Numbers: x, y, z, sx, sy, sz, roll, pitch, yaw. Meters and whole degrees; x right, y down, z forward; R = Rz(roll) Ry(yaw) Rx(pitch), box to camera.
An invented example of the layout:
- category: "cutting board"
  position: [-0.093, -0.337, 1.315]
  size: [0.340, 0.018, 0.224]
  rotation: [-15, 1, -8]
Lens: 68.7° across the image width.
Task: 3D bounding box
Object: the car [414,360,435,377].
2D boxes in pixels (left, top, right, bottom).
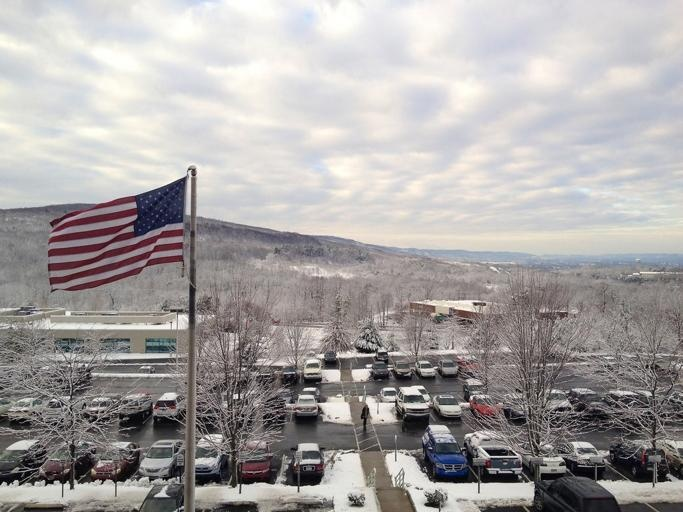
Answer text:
- category: "car"
  position: [7.113, 9.624, 42.249]
  size: [1.542, 1.235, 1.596]
  rotation: [-1, -6, 0]

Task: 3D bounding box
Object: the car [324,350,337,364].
- category: "car"
  position: [-1.138, 9.790, 47.825]
  size: [1.309, 1.212, 2.084]
  rotation: [-1, -6, -3]

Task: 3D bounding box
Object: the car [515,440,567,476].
- category: "car"
  position: [10.809, 10.263, 26.343]
  size: [1.491, 0.949, 3.140]
  rotation: [-3, 7, 13]

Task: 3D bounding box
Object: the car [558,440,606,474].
- category: "car"
  position: [12.377, 10.448, 25.817]
  size: [1.268, 0.788, 2.727]
  rotation: [-1, 0, 1]

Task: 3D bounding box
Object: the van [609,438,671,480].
- category: "van"
  position: [15.411, 10.548, 26.034]
  size: [1.461, 1.222, 2.780]
  rotation: [1, 2, -2]

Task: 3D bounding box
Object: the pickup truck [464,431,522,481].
- category: "pickup truck"
  position: [7.693, 10.193, 25.966]
  size: [1.660, 2.245, 2.879]
  rotation: [3, -8, -40]

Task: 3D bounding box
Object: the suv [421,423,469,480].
- category: "suv"
  position: [5.470, 10.323, 26.790]
  size: [1.878, 1.674, 4.427]
  rotation: [-1, -4, -1]

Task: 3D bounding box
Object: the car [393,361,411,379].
- category: "car"
  position: [5.097, 9.714, 42.130]
  size: [1.496, 1.248, 1.651]
  rotation: [-2, -6, 3]

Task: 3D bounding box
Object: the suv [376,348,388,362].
- category: "suv"
  position: [3.731, 9.426, 46.789]
  size: [1.193, 0.900, 1.811]
  rotation: [-2, -6, 1]
